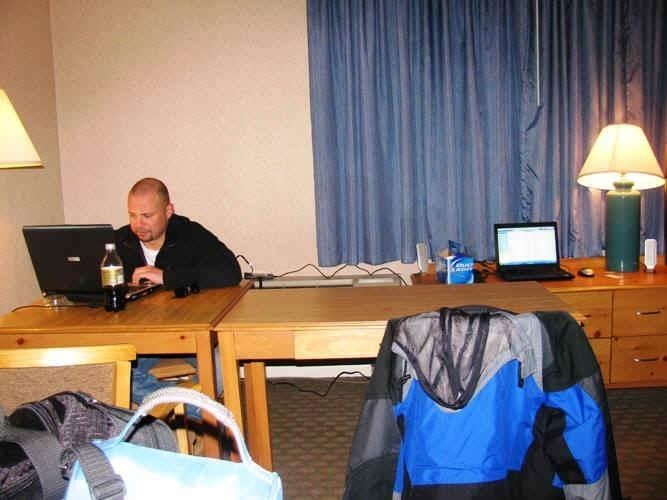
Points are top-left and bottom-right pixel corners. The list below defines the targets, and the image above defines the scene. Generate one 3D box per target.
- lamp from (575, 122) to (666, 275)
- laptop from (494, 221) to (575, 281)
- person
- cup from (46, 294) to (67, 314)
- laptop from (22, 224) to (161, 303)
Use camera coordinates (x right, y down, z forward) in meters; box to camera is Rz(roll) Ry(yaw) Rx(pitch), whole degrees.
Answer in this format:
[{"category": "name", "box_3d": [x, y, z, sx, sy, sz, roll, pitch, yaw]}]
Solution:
[{"category": "lamp", "box_3d": [1.686, -0.296, 3.297, 0.445, 0.863, 0.409, -8, 5, -42]}, {"category": "laptop", "box_3d": [1.156, -0.002, 3.329, 0.401, 0.310, 0.334, -1, 9, 1]}, {"category": "person", "box_3d": [-1.014, 0.322, 3.265, 0.688, 1.363, 0.703, 0, 0, -36]}, {"category": "cup", "box_3d": [-1.342, 0.267, 2.740, 0.076, 0.061, 0.080, 1, -3, 0]}, {"category": "laptop", "box_3d": [-1.202, 0.049, 2.791, 0.383, 0.392, 0.434, 1, 10, 1]}]
